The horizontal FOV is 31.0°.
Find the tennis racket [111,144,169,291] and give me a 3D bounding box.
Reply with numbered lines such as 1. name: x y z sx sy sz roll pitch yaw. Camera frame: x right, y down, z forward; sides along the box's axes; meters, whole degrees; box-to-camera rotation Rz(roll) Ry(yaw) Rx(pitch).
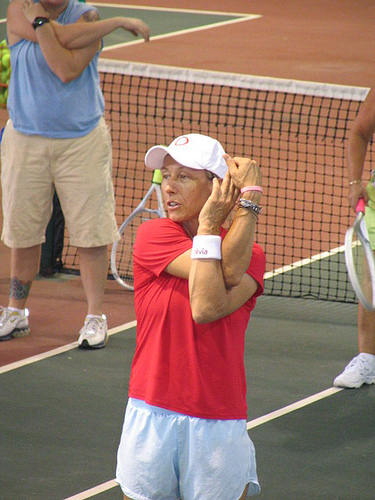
1. tennis racket: -0.377 -0.321 6.420 0.630 0.120 1.640 13 55 -14

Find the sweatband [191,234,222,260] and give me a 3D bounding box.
1. sweatband: 0.050 -0.009 1.756 0.068 0.049 0.069 -1 -5 35

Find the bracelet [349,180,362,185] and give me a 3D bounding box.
1. bracelet: 0.973 -0.391 3.896 0.059 0.030 0.072 3 11 7

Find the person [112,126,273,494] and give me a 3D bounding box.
1. person: 0.023 0.226 1.964 0.428 1.106 0.404 3 12 6
